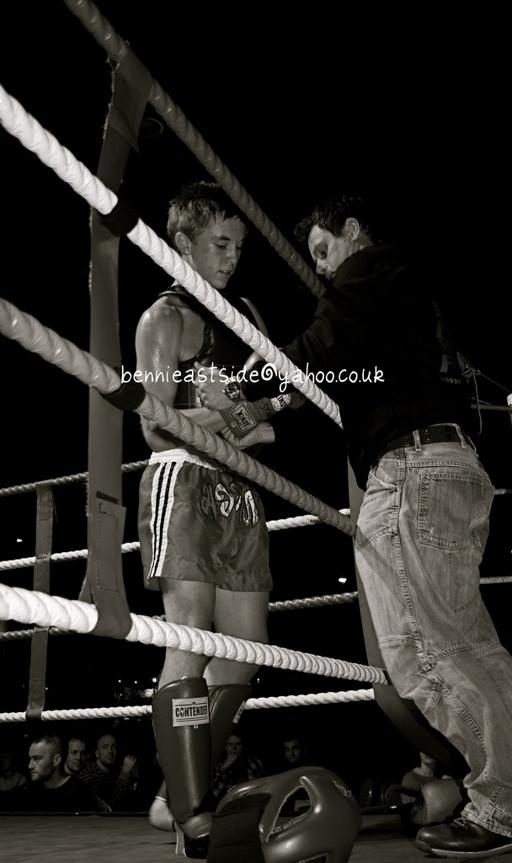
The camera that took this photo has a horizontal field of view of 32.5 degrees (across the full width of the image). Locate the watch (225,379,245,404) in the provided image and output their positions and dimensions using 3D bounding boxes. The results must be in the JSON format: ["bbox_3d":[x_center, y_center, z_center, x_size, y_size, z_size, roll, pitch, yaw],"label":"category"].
[{"bbox_3d":[-0.048,-0.077,1.828,0.019,0.037,0.050,7,4,-37],"label":"watch"}]
